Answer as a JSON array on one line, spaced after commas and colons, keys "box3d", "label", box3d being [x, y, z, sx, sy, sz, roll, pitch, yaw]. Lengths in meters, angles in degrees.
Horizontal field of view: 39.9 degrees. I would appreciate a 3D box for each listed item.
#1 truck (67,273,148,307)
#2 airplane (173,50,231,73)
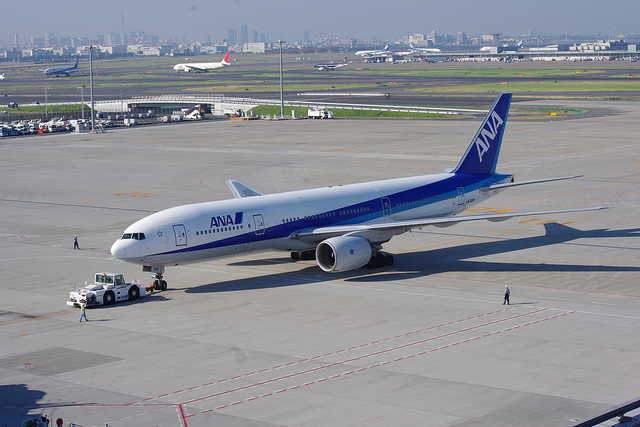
[{"box3d": [-15.001, 5.343, 61.824, 4.603, 1.988, 1.550, -7, 15, -34], "label": "truck"}, {"box3d": [-54.648, -69.188, 406.256, 21.327, 7.006, 139.727, -1, 8, -8], "label": "airplane"}]
